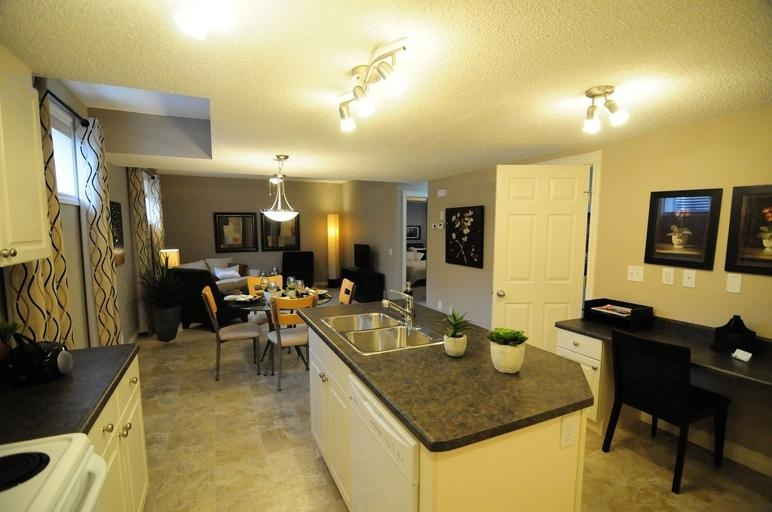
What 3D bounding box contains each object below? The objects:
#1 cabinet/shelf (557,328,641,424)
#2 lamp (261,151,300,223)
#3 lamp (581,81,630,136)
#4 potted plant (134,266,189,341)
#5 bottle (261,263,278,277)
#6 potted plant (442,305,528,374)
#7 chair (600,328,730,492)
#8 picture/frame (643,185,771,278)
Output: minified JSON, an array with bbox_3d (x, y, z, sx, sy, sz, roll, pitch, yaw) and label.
[{"bbox_3d":[1.981,1.084,4.735,0.698,0.924,0.737,9,13,40],"label":"cabinet/shelf"},{"bbox_3d":[-1.357,-0.855,6.472,0.455,0.800,0.431,2,9,2],"label":"lamp"},{"bbox_3d":[1.619,-1.118,3.826,0.263,0.230,0.168,-5,6,30],"label":"lamp"},{"bbox_3d":[-2.982,0.620,6.787,0.464,0.975,0.713,-5,6,-34],"label":"potted plant"},{"bbox_3d":[-2.046,0.234,8.878,0.321,0.199,0.221,-10,14,-42],"label":"bottle"},{"bbox_3d":[0.657,0.588,3.673,0.337,0.376,0.678,-2,2,-35],"label":"potted plant"},{"bbox_3d":[2.320,1.172,4.213,0.812,1.174,0.769,-11,14,-39],"label":"chair"},{"bbox_3d":[2.737,-0.216,4.258,0.035,0.553,0.809,-4,4,-44],"label":"picture/frame"}]
